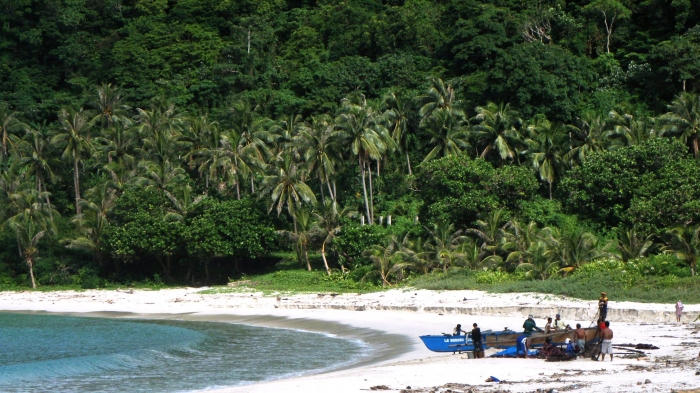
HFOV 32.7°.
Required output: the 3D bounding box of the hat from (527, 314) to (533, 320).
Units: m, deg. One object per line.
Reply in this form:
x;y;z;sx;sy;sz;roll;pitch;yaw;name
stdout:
19.712;13.286;130.139;0.665;0.313;0.803;3;-2;12;hat
